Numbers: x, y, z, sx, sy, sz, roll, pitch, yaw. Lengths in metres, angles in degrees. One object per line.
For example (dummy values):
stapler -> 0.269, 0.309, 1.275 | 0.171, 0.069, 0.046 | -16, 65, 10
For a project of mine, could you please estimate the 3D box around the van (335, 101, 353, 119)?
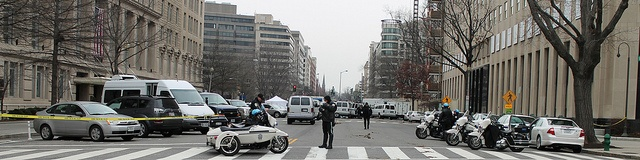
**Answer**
van -> 8.013, 9.783, 145.801 | 5.392, 5.089, 3.447 | 1, -10, -5
